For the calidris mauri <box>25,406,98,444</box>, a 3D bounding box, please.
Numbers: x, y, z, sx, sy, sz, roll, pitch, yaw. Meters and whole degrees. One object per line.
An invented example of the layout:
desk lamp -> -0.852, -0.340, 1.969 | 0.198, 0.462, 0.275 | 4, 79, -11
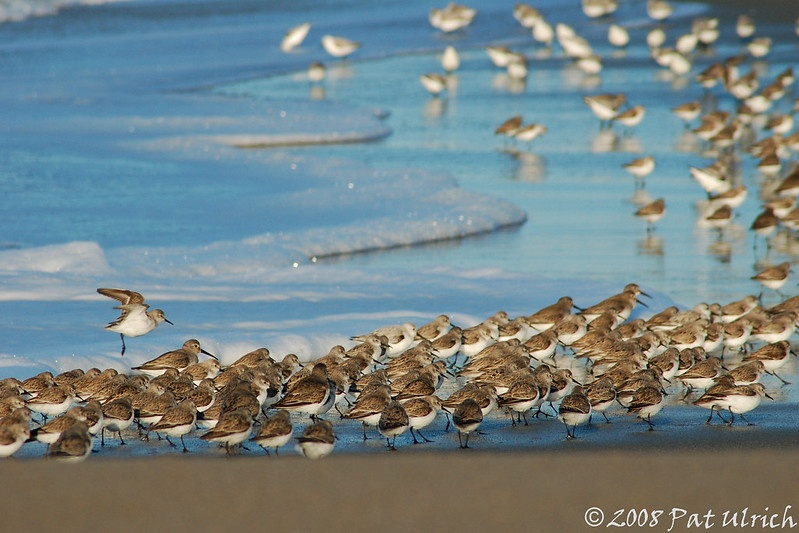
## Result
calidris mauri -> -6.893, 3.233, 24.408 | 1.474, 0.480, 0.422 | -10, 10, -7

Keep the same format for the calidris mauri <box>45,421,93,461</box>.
calidris mauri -> -6.518, 3.531, 23.903 | 1.014, 0.575, 0.573 | 5, 6, -45
